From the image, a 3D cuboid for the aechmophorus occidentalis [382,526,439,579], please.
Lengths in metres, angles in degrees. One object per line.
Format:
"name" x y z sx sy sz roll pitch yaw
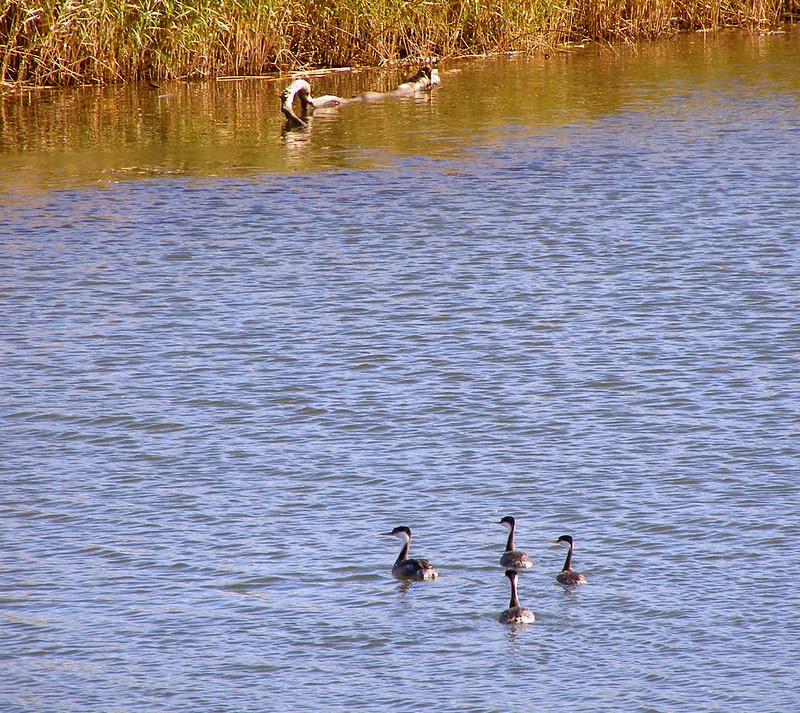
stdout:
"aechmophorus occidentalis" 0.104 1.343 11.210 0.262 0.555 0.366 1 85 -28
